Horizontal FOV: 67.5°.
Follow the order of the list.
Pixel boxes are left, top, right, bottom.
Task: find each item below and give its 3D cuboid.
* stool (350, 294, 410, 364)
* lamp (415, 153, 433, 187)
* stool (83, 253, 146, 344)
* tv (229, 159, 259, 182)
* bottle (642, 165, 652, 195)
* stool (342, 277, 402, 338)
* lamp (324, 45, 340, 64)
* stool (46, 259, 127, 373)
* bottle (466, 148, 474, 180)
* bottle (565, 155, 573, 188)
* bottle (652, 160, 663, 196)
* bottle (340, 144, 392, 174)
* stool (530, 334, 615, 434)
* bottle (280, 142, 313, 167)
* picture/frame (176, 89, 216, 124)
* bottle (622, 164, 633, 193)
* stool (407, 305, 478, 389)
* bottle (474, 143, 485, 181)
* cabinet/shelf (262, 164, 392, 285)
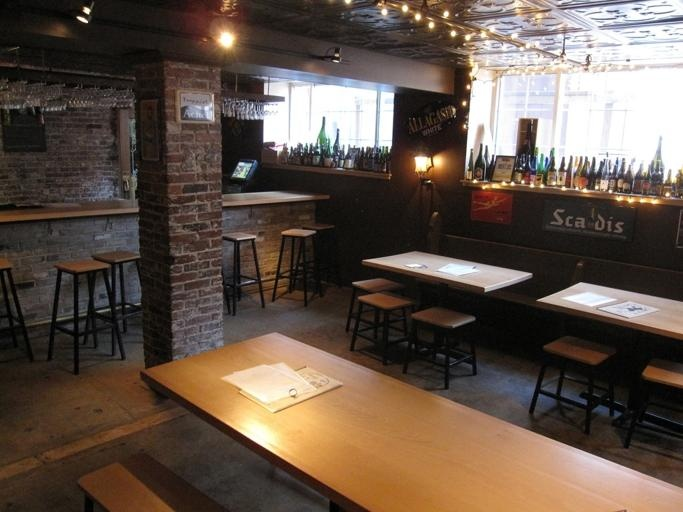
[{"bbox_3d":[0.406,0.791,5.398,0.526,0.508,0.604,-10,19,-38],"label":"stool"},{"bbox_3d":[0.997,-1.062,6.369,0.307,0.402,0.118,13,19,38],"label":"lamp"},{"bbox_3d":[-2.454,0.409,5.558,0.360,0.535,0.344,10,3,-40],"label":"stool"},{"bbox_3d":[-1.532,-1.363,8.139,0.460,0.392,0.101,7,-27,35],"label":"tv"},{"bbox_3d":[2.900,-0.714,4.865,0.088,0.264,0.183,10,17,28],"label":"bottle"},{"bbox_3d":[0.334,0.473,5.872,0.703,0.670,0.563,-10,19,-36],"label":"stool"},{"bbox_3d":[-0.068,-1.877,4.745,0.144,0.146,0.286,1,13,-1],"label":"lamp"},{"bbox_3d":[-2.574,0.471,5.086,0.692,0.940,1.329,-6,16,-26],"label":"stool"},{"bbox_3d":[1.528,-1.082,6.044,0.092,0.343,0.176,5,15,13],"label":"bottle"},{"bbox_3d":[2.368,-0.874,5.309,0.077,0.316,0.195,8,16,22],"label":"bottle"},{"bbox_3d":[2.978,-0.732,4.825,0.118,0.309,0.178,10,17,28],"label":"bottle"},{"bbox_3d":[0.363,-1.334,7.055,0.384,0.331,0.932,-9,17,-36],"label":"bottle"},{"bbox_3d":[2.000,1.130,4.400,0.573,0.559,0.530,-20,30,-40],"label":"stool"},{"bbox_3d":[-0.670,-1.559,7.841,0.616,0.227,0.356,7,16,30],"label":"bottle"},{"bbox_3d":[-1.164,-1.191,4.101,0.409,0.250,0.022,13,20,29],"label":"picture/frame"},{"bbox_3d":[2.763,-0.748,4.927,0.100,0.281,0.110,2,15,0],"label":"bottle"},{"bbox_3d":[0.960,0.849,4.939,0.518,0.509,0.562,-6,11,-44],"label":"stool"},{"bbox_3d":[1.623,-1.094,5.978,0.137,0.401,0.209,5,15,13],"label":"bottle"},{"bbox_3d":[-0.160,-0.390,7.146,1.876,1.317,0.607,8,11,39],"label":"cabinet/shelf"}]
